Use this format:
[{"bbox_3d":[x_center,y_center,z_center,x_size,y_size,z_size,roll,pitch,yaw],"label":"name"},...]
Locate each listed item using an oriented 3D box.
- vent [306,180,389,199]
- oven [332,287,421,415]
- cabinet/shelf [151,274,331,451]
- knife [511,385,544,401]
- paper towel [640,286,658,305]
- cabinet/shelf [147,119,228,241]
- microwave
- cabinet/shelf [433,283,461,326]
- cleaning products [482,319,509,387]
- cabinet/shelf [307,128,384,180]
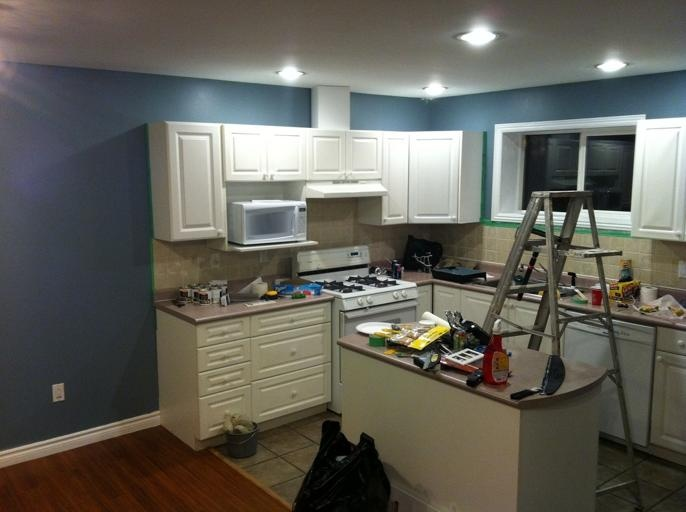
[{"bbox_3d":[0.066,-0.642,4.992,0.928,0.186,0.194,-10,17,-34],"label":"vent"},{"bbox_3d":[0.269,0.701,5.007,0.917,0.890,0.497,-5,7,-33],"label":"oven"},{"bbox_3d":[-0.836,0.727,4.834,1.852,1.567,1.085,-5,7,-39],"label":"cabinet/shelf"},{"bbox_3d":[0.969,0.728,2.722,0.213,0.031,0.065,-5,7,-35],"label":"knife"},{"bbox_3d":[2.584,0.332,4.408,0.140,0.156,0.141,-6,14,-16],"label":"paper towel"},{"bbox_3d":[-1.298,-0.616,4.294,0.622,0.975,0.368,-4,14,-12],"label":"cabinet/shelf"},{"bbox_3d":[-0.701,-0.306,4.607,0.637,0.408,0.405,-6,10,-36],"label":"microwave"},{"bbox_3d":[1.049,0.458,5.243,0.100,0.327,0.331,-12,18,-39],"label":"cabinet/shelf"},{"bbox_3d":[0.865,0.559,2.884,0.152,0.276,0.200,4,15,19],"label":"cleaning products"},{"bbox_3d":[0.024,-0.981,4.941,0.902,0.563,0.483,-4,8,-31],"label":"cabinet/shelf"}]
